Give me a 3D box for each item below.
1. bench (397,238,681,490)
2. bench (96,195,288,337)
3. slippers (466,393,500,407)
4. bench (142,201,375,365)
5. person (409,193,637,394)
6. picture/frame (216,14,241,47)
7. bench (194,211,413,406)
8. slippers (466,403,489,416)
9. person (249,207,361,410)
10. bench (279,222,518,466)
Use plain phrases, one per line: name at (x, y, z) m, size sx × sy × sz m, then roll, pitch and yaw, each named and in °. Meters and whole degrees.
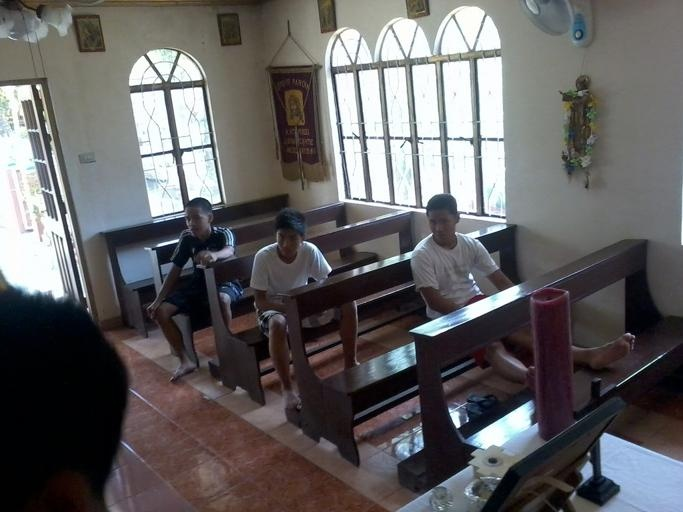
bench at (1.031, 0.535, 2.716) m, size 1.200 × 0.504 × 0.512 m, roll -25°, pitch 23°, yaw -39°
bench at (-1.439, -0.050, 6.270) m, size 0.573 × 1.096 × 2.445 m, roll 0°, pitch 13°, yaw 46°
slippers at (0.913, 0.943, 3.395) m, size 0.124 × 0.059 × 0.167 m, roll 7°, pitch 4°, yaw 43°
bench at (-0.750, 0.274, 4.460) m, size 0.560 × 0.899 × 1.308 m, roll 10°, pitch 19°, yaw 34°
person at (0.930, 0.171, 3.191) m, size 0.772 × 0.998 × 1.352 m, roll -12°, pitch 16°, yaw -22°
picture/frame at (-1.324, -2.659, 6.133) m, size 0.299 × 0.357 × 0.028 m, roll 7°, pitch 25°, yaw 19°
bench at (-0.160, 0.327, 4.763) m, size 2.287 × 1.029 × 0.660 m, roll -16°, pitch 7°, yaw -26°
slippers at (0.846, 0.973, 3.310) m, size 0.095 × 0.095 × 0.077 m, roll 2°, pitch 7°, yaw 36°
person at (-0.350, 0.342, 3.707) m, size 0.762 × 1.271 × 0.867 m, roll 0°, pitch 11°, yaw 20°
bench at (0.485, 0.551, 3.873) m, size 1.885 × 1.064 × 0.628 m, roll -18°, pitch 18°, yaw -41°
